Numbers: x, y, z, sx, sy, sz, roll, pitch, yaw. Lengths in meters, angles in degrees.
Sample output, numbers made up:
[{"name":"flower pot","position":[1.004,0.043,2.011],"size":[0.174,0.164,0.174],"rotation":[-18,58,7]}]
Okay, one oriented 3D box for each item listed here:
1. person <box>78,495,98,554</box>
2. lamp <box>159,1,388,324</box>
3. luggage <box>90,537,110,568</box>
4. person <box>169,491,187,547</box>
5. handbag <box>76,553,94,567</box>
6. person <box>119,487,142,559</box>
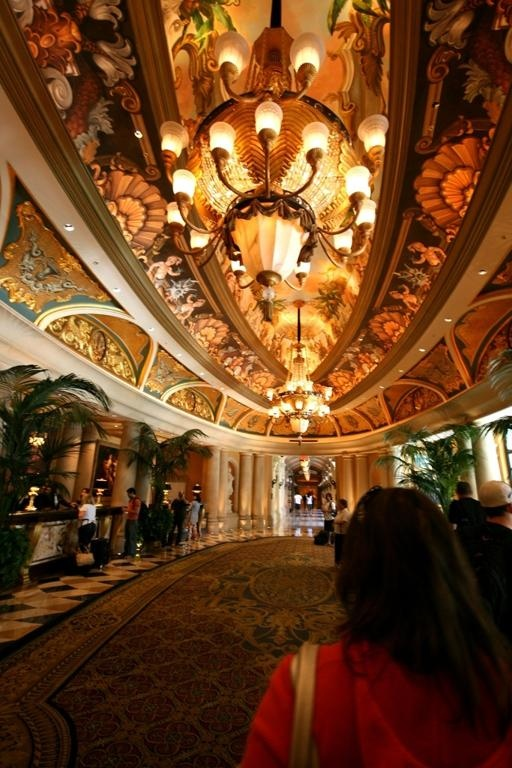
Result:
[{"name":"person","position":[-3.091,2.545,7.120],"size":[0.305,1.033,1.072],"rotation":[8,-22,-18]},{"name":"lamp","position":[0.109,-2.495,3.746],"size":[1.796,3.699,1.844],"rotation":[0,-22,1]},{"name":"luggage","position":[-2.796,3.006,6.914],"size":[0.271,0.500,0.455],"rotation":[4,-21,-8]},{"name":"person","position":[-2.125,3.630,10.580],"size":[0.422,1.326,1.181],"rotation":[4,-22,-10]},{"name":"handbag","position":[-2.988,3.032,6.788],"size":[0.266,0.079,0.313],"rotation":[2,-10,-1]},{"name":"person","position":[-2.683,2.956,8.385],"size":[0.334,1.403,1.163],"rotation":[7,-22,-14]}]
